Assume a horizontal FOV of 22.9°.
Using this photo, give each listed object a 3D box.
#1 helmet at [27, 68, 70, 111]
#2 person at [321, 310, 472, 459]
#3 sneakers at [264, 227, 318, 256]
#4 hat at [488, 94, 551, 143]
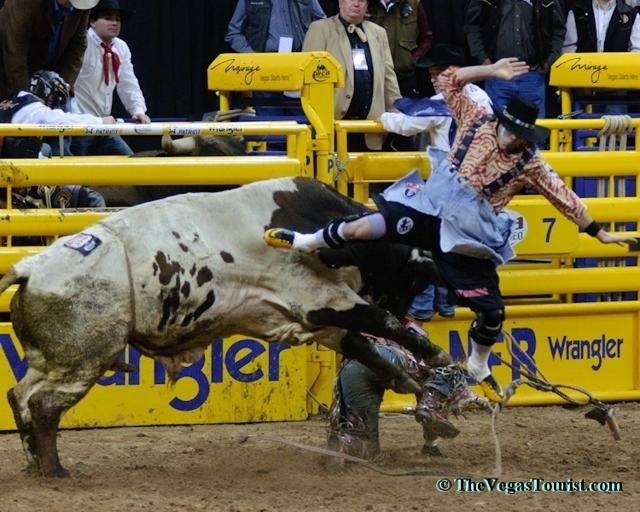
[{"bbox_3d":[-2.063,-1.276,11.867,0.264,0.281,0.313,22,7,38],"label":"helmet"},{"bbox_3d":[0.470,0.934,10.893,1.166,0.915,0.645,-5,5,-16],"label":"person"},{"bbox_3d":[-0.192,-0.104,10.171,0.309,0.113,0.148,9,9,-18],"label":"sneakers"},{"bbox_3d":[1.290,-0.922,10.416,0.304,0.138,0.354,15,26,-52],"label":"hat"}]
